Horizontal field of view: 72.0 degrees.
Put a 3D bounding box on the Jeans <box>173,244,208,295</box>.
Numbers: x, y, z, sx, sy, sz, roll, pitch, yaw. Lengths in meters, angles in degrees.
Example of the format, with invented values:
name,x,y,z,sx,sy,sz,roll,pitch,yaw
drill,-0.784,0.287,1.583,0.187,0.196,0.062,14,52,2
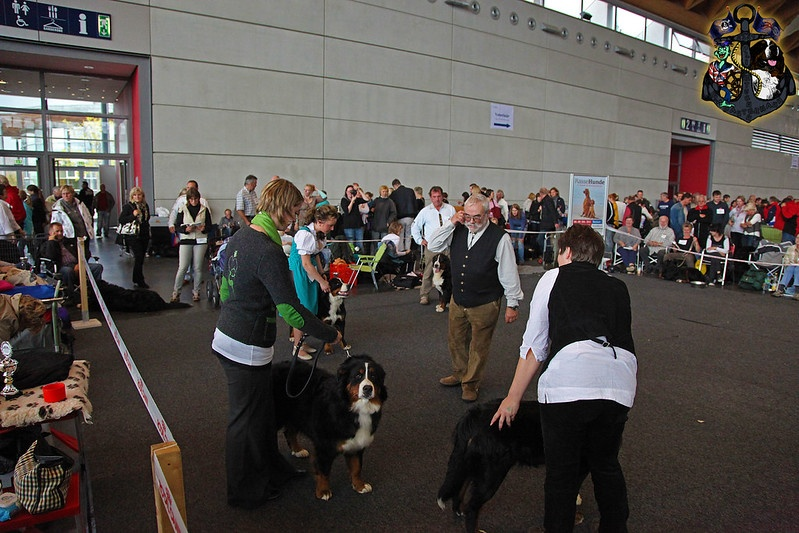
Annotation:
name,x,y,z,sx,sy,sz,roll,pitch,yaw
Jeans,-4.013,0.014,10.666,0.557,0.399,1.626,7,40,-26

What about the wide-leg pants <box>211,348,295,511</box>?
name,x,y,z,sx,sy,sz,roll,pitch,yaw
wide-leg pants,-1.418,1.474,5.458,0.398,1.452,0.616,-2,8,34

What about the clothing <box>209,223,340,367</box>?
name,x,y,z,sx,sy,sz,roll,pitch,yaw
clothing,-1.372,0.195,5.535,1.410,1.403,0.969,9,6,33

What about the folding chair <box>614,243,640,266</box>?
name,x,y,z,sx,sy,sz,roll,pitch,yaw
folding chair,6.383,-0.312,15.309,0.383,0.827,0.588,1,-10,10

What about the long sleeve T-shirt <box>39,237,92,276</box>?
name,x,y,z,sx,sy,sz,roll,pitch,yaw
long sleeve T-shirt,-6.043,-0.132,9.987,0.590,0.823,0.570,-10,-10,-38

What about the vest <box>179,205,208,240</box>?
name,x,y,z,sx,sy,sz,roll,pitch,yaw
vest,-3.901,-0.849,10.405,0.557,0.666,0.346,-2,6,-35

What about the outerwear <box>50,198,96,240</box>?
name,x,y,z,sx,sy,sz,roll,pitch,yaw
outerwear,-6.296,-0.896,10.481,0.485,0.762,1.185,0,9,-13

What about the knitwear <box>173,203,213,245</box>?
name,x,y,z,sx,sy,sz,roll,pitch,yaw
knitwear,-3.903,-0.799,10.697,0.841,1.131,0.618,-2,5,-34

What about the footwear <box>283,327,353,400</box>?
name,x,y,z,sx,sy,sz,roll,pitch,yaw
footwear,-0.944,0.991,6.003,0.566,0.234,1.019,-23,42,21

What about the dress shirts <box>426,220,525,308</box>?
name,x,y,z,sx,sy,sz,roll,pitch,yaw
dress shirts,0.971,-0.003,7.644,1.395,1.504,0.716,5,9,35

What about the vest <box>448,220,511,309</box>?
name,x,y,z,sx,sy,sz,roll,pitch,yaw
vest,1.002,-0.034,6.824,0.690,1.050,0.588,16,27,42

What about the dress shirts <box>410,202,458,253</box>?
name,x,y,z,sx,sy,sz,roll,pitch,yaw
dress shirts,0.746,-0.801,10.728,0.956,0.852,0.422,-2,3,-20

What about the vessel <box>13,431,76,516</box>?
name,x,y,z,sx,sy,sz,roll,pitch,yaw
vessel,-3.075,1.846,4.756,0.423,0.470,0.290,4,9,11

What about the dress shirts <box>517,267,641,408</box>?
name,x,y,z,sx,sy,sz,roll,pitch,yaw
dress shirts,1.637,0.600,4.914,0.988,1.404,0.668,6,-17,-4

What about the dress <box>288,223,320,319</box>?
name,x,y,z,sx,sy,sz,roll,pitch,yaw
dress,-1.334,0.018,7.859,0.379,1.276,0.528,-4,25,-19

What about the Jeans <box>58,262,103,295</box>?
name,x,y,z,sx,sy,sz,roll,pitch,yaw
Jeans,-5.824,0.212,10.145,0.534,0.823,0.497,-5,-4,45

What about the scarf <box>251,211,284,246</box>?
name,x,y,z,sx,sy,sz,roll,pitch,yaw
scarf,-1.243,-0.380,5.222,0.332,0.174,0.244,45,-13,-30
